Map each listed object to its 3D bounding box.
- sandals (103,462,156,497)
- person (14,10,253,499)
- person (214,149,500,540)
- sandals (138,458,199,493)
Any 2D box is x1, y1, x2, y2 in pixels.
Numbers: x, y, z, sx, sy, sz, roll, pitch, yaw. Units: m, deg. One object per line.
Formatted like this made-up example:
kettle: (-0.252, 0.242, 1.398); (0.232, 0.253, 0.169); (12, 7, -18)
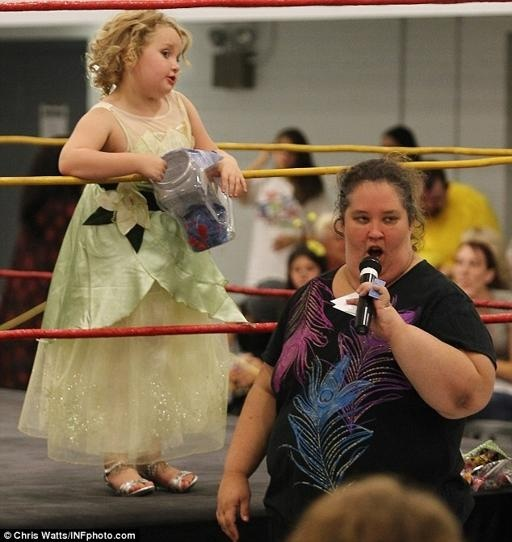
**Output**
sandals: (-0.333, 0.537, 1.968); (0.085, 0.072, 0.120); (-7, 10, -36)
person: (-0.342, -0.059, 2.031); (0.620, 1.269, 0.437); (-5, 11, -19)
person: (0.183, 0.195, 1.638); (0.568, 0.875, 0.412); (-2, 10, -4)
sandals: (-0.231, 0.541, 2.014); (0.193, 0.048, 0.063); (2, 11, 27)
